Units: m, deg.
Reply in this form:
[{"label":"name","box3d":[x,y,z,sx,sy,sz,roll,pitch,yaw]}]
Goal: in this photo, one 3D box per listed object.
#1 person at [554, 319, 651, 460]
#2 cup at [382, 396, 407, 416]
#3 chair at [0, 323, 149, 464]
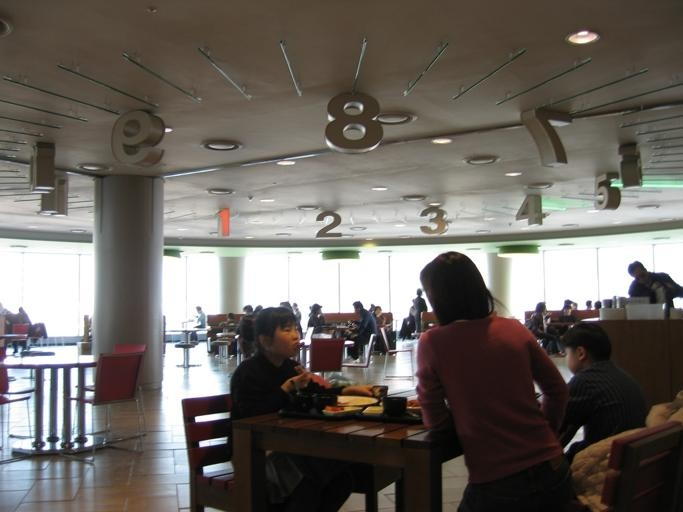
[{"label":"person","box3d":[1.498,0.815,3.027,0.537,0.782,0.512,6,-11,-29]},{"label":"cup","box3d":[0.261,0.725,2.454,0.095,0.069,0.096,-2,-14,0]},{"label":"chair","box3d":[-2.968,1.604,5.638,1.438,1.060,1.424,2,-7,-20]}]
